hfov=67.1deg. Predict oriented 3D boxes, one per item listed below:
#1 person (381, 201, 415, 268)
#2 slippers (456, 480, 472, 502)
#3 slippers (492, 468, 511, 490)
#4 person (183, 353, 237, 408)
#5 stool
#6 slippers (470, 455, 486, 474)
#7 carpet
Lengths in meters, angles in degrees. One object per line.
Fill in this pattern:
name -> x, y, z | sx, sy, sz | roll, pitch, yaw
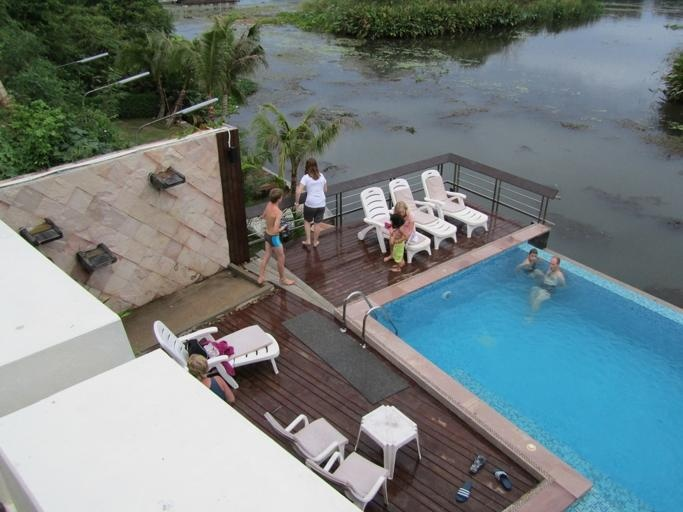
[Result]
person -> 1.212, -0.444, 11.237 | 0.559, 1.378, 0.916 | 16, 49, 25
slippers -> 1.622, 3.093, 6.805 | 0.172, 0.095, 0.322 | 10, 46, 19
slippers -> 2.189, 2.994, 6.960 | 0.139, 0.081, 0.244 | -12, 38, -8
person -> -1.713, 1.618, 6.812 | 0.620, 0.841, 0.603 | 10, 5, -7
stool -> 0.604, 2.290, 6.978 | 0.853, 0.669, 0.883 | -29, 49, -31
slippers -> 1.894, 2.868, 7.124 | 0.123, 0.098, 0.274 | 22, 49, 36
carpet -> 0.060, 1.667, 8.854 | 0.782, 0.231, 2.386 | -35, 49, -25
